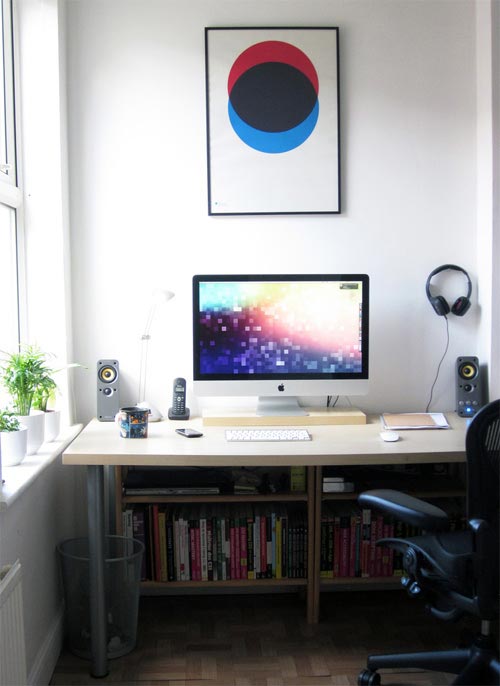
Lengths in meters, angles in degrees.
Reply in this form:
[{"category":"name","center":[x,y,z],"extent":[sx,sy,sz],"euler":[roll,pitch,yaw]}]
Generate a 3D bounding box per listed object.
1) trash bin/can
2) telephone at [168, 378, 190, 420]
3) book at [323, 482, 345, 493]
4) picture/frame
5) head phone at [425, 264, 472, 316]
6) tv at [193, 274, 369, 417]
[{"category":"trash bin/can","center":[-0.452,0.792,1.947],"extent":[0.286,0.377,0.312],"euler":[0,2,2]},{"category":"telephone","center":[-0.269,0.209,2.231],"extent":[0.070,0.152,0.088],"euler":[0,13,-11]},{"category":"book","center":[0.285,0.479,1.981],"extent":[0.054,0.043,0.013],"euler":[3,-5,-7]},{"category":"picture/frame","center":[0.074,-0.871,2.242],"extent":[0.640,0.918,0.029],"euler":[0,4,-4]},{"category":"head phone","center":[0.783,-0.200,2.317],"extent":[0.163,0.227,0.075],"euler":[-1,-14,13]},{"category":"tv","center":[0.109,-0.011,2.118],"extent":[0.453,0.442,0.159],"euler":[0,3,-3]}]
